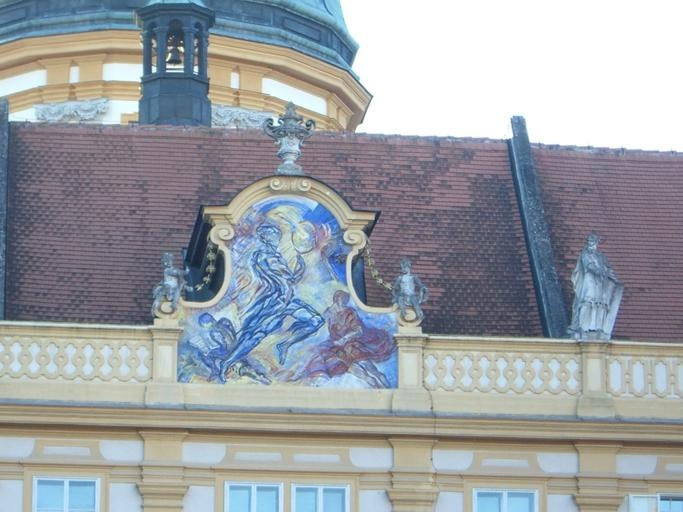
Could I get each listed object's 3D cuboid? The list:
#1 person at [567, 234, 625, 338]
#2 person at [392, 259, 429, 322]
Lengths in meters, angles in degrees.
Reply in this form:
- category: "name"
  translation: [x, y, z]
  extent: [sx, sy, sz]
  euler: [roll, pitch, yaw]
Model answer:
- category: "person"
  translation: [6.190, 0.724, 59.356]
  extent: [1.312, 2.441, 0.717]
  euler: [8, -15, -13]
- category: "person"
  translation: [1.743, 0.808, 58.694]
  extent: [0.788, 1.552, 0.486]
  euler: [-1, -23, 1]
